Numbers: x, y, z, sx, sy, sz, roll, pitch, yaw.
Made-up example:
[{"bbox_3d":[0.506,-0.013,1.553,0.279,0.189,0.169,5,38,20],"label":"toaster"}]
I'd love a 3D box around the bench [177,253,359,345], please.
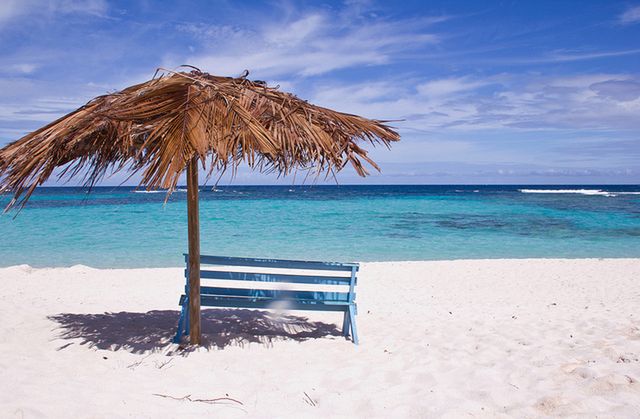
[{"bbox_3d":[-0.694,1.594,8.182,2.851,1.501,0.533,2,4,-7],"label":"bench"}]
